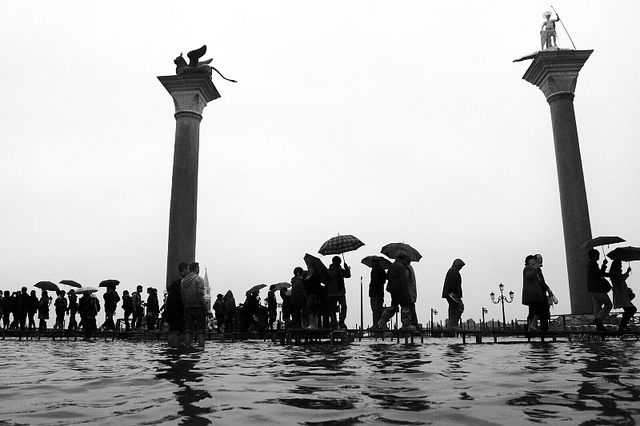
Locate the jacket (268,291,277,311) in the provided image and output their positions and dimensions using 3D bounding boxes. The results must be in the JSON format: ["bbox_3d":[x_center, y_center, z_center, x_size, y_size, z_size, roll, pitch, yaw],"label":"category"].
[{"bbox_3d":[-1.773,3.353,29.129,0.342,0.676,0.621,-2,-14,-5],"label":"jacket"}]

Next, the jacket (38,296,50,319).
[{"bbox_3d":[-10.721,3.699,29.913,0.347,0.835,0.357,0,-14,-14],"label":"jacket"}]

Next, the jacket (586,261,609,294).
[{"bbox_3d":[7.224,1.693,20.076,0.478,0.846,0.332,-8,-15,20],"label":"jacket"}]

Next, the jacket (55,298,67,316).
[{"bbox_3d":[-9.864,3.618,29.469,0.456,0.667,0.478,3,-15,-23],"label":"jacket"}]

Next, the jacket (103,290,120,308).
[{"bbox_3d":[-7.282,3.022,26.971,0.464,0.710,0.896,0,-14,-14],"label":"jacket"}]

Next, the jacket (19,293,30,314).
[{"bbox_3d":[-11.206,3.445,29.281,0.373,0.666,0.824,2,-14,-20],"label":"jacket"}]

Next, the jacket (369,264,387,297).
[{"bbox_3d":[1.640,1.921,21.873,0.505,0.952,0.503,-4,-14,4],"label":"jacket"}]

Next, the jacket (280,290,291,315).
[{"bbox_3d":[-1.160,3.133,26.804,0.307,0.837,0.495,-2,-14,-3],"label":"jacket"}]

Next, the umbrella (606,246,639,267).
[{"bbox_3d":[8.658,1.214,22.037,0.804,0.435,1.273,-11,-15,30],"label":"umbrella"}]

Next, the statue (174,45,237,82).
[{"bbox_3d":[-4.697,-5.649,29.015,1.437,1.199,1.627,-1,-13,-9],"label":"statue"}]

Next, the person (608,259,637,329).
[{"bbox_3d":[7.926,2.097,20.135,0.513,1.785,0.568,-8,-15,21],"label":"person"}]

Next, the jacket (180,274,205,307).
[{"bbox_3d":[-3.050,1.863,18.405,0.557,0.776,0.466,-3,-14,0],"label":"jacket"}]

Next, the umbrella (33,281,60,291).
[{"bbox_3d":[-10.542,2.883,30.022,1.010,0.455,0.451,-11,-16,31],"label":"umbrella"}]

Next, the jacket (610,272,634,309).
[{"bbox_3d":[7.842,2.037,20.074,0.508,0.887,0.529,-10,-15,26],"label":"jacket"}]

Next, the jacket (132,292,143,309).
[{"bbox_3d":[-6.889,3.294,29.133,0.345,0.601,0.975,0,-13,-12],"label":"jacket"}]

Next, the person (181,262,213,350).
[{"bbox_3d":[-3.033,2.301,18.529,0.712,2.249,0.673,-4,-6,13],"label":"person"}]

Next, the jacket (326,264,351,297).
[{"bbox_3d":[0.515,1.864,21.114,0.615,0.827,0.421,-3,-14,1],"label":"jacket"}]

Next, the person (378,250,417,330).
[{"bbox_3d":[2.058,2.063,20.581,0.918,2.208,1.184,-4,-14,4],"label":"person"}]

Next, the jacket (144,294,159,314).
[{"bbox_3d":[-6.242,3.414,28.787,0.435,0.682,0.595,0,-14,-12],"label":"jacket"}]

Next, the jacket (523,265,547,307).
[{"bbox_3d":[5.364,1.838,19.337,0.591,1.046,0.398,-3,-14,0],"label":"jacket"}]

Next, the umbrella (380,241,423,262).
[{"bbox_3d":[2.426,1.132,22.560,1.075,0.674,1.174,-3,-13,0],"label":"umbrella"}]

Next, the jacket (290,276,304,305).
[{"bbox_3d":[-0.640,2.258,22.391,0.371,0.780,0.573,-2,-14,-2],"label":"jacket"}]

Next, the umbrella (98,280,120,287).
[{"bbox_3d":[-7.609,2.605,27.995,0.501,0.309,0.996,2,-14,-21],"label":"umbrella"}]

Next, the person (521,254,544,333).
[{"bbox_3d":[5.412,1.954,19.612,0.517,1.621,0.995,-7,-14,14],"label":"person"}]
